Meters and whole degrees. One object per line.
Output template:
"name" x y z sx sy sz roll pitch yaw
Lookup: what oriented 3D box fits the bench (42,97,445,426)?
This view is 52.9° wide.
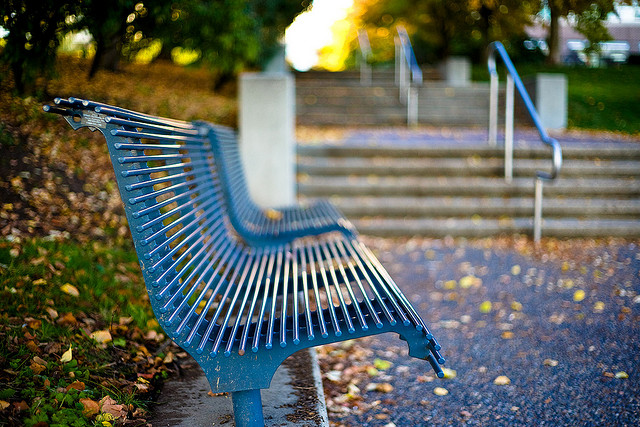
"bench" -0.520 0.261 4.574 2.148 2.194 1.134 -2 8 5
